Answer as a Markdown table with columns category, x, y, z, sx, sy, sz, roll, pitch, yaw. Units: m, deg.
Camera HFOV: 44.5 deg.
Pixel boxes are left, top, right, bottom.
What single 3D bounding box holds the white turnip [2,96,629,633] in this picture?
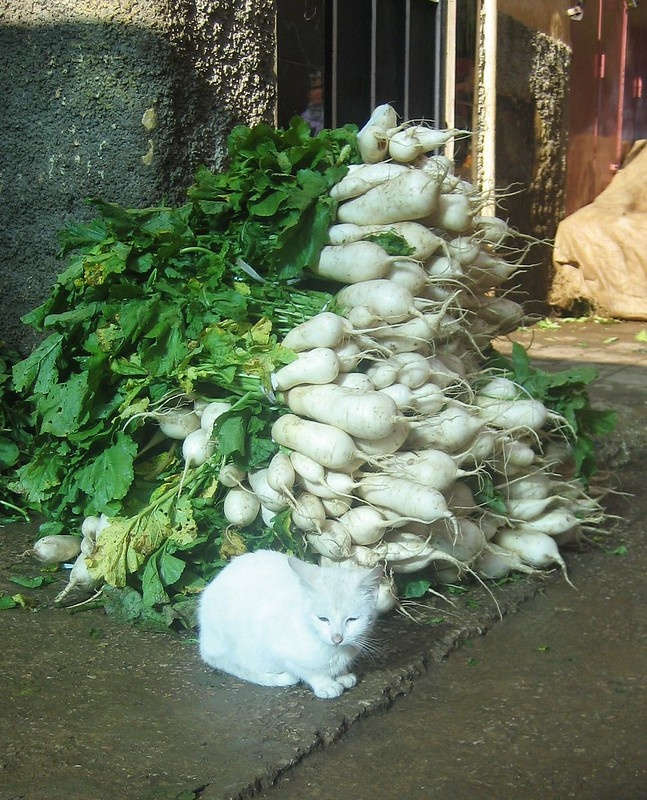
| category | x | y | z | sx | sy | sz | roll | pitch | yaw |
| --- | --- | --- | --- | --- | --- | --- | --- | --- | --- |
| white turnip | -0.118 | -0.158 | 2.797 | 2.212 | 1.707 | 1.237 | -1 | 20 | 2 |

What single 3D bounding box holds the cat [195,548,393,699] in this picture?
| category | x | y | z | sx | sy | sz | roll | pitch | yaw |
| --- | --- | --- | --- | --- | --- | --- | --- | --- | --- |
| cat | -0.083 | 0.606 | 2.231 | 0.378 | 0.366 | 0.606 | -7 | 8 | -36 |
